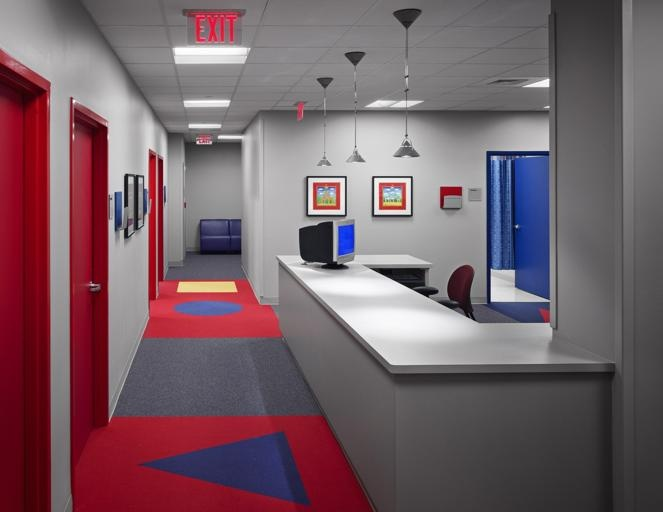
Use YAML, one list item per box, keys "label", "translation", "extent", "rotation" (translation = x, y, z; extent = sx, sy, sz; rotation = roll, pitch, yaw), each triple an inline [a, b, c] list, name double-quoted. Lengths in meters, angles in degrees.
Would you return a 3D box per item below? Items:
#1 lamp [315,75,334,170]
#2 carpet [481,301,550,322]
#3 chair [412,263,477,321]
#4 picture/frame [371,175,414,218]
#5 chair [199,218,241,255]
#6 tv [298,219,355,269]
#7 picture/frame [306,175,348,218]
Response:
- label: "lamp"
  translation: [-0.098, -1.939, 6.938]
  extent: [0.300, 1.268, 0.319]
  rotation: [8, 13, 41]
- label: "carpet"
  translation: [3.072, 0.872, 7.829]
  extent: [0.996, 0.090, 1.625]
  rotation: [3, 7, 23]
- label: "chair"
  translation: [1.258, 0.358, 5.064]
  extent: [0.645, 0.728, 0.608]
  rotation: [2, 0, -3]
- label: "picture/frame"
  translation: [1.025, -1.050, 8.141]
  extent: [0.693, 0.720, 0.056]
  rotation: [1, -1, -5]
- label: "chair"
  translation: [-3.630, -0.652, 15.504]
  extent: [1.828, 1.279, 0.942]
  rotation: [0, 0, -8]
- label: "tv"
  translation: [-0.054, -0.156, 5.354]
  extent: [0.552, 0.522, 0.563]
  rotation: [2, 4, 13]
- label: "picture/frame"
  translation: [-0.110, -1.042, 8.062]
  extent: [0.698, 0.729, 0.053]
  rotation: [0, 2, -7]
